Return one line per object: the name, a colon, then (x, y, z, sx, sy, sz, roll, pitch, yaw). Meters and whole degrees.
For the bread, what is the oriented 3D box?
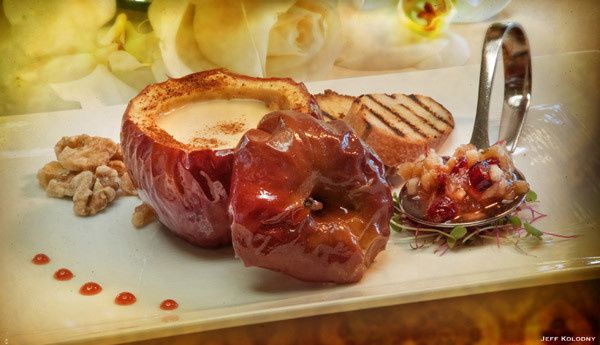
bread: (0.383, -0.251, 2.694, 0.500, 0.491, 0.649, 3, 4, -5)

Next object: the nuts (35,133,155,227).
nuts: (-0.964, 0.027, 2.349, 0.426, 0.142, 0.522, -26, 60, -30)
